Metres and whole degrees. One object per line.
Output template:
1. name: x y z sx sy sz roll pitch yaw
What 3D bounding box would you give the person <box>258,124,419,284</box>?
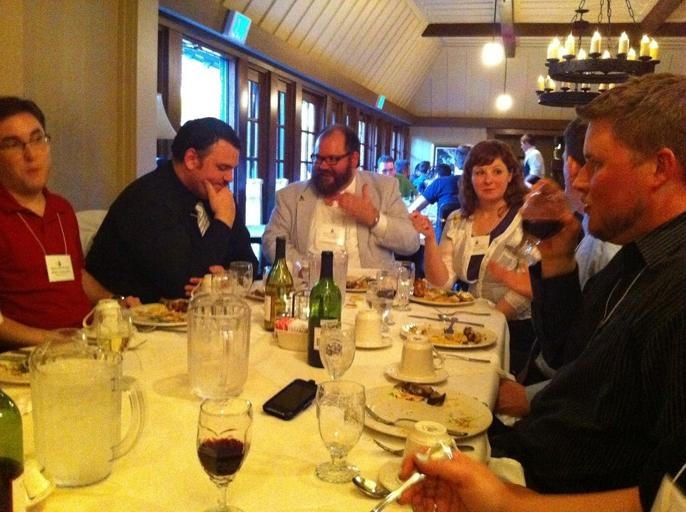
1. person: -0.017 -0.058 3.665 0.946 1.561 0.807 -2 2 7

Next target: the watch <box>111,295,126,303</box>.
1. watch: -0.882 0.170 2.154 0.042 0.015 0.043 11 -12 7

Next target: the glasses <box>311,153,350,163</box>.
1. glasses: -0.114 -0.641 3.622 0.298 0.074 0.165 10 11 41

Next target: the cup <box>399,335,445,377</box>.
1. cup: 0.242 0.306 1.713 0.118 0.103 0.093 6 6 31

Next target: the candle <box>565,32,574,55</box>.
1. candle: 2.096 -1.936 5.069 0.073 0.220 0.216 6 8 18

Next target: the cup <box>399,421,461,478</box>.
1. cup: 0.187 0.407 1.197 0.103 0.118 0.102 0 -1 0

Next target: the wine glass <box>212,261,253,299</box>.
1. wine glass: -0.484 0.112 2.346 0.164 0.187 0.170 1 -2 -3

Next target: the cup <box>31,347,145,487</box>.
1. cup: -0.546 0.334 1.178 0.210 0.268 0.157 -2 9 -31

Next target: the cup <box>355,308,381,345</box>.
1. cup: 0.091 0.259 1.997 0.104 0.117 0.108 2 -2 0
